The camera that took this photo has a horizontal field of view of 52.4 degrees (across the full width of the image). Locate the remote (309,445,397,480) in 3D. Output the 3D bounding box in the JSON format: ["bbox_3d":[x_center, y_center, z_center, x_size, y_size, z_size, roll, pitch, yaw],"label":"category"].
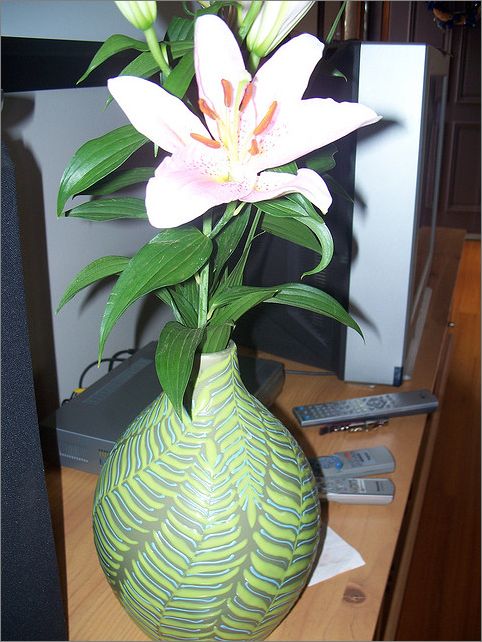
[{"bbox_3d":[0.176,0.216,0.749,0.115,0.025,0.052,-5,21,2],"label":"remote"}]

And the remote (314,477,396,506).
[{"bbox_3d":[0.161,0.238,0.687,0.099,0.023,0.043,2,15,3],"label":"remote"}]
